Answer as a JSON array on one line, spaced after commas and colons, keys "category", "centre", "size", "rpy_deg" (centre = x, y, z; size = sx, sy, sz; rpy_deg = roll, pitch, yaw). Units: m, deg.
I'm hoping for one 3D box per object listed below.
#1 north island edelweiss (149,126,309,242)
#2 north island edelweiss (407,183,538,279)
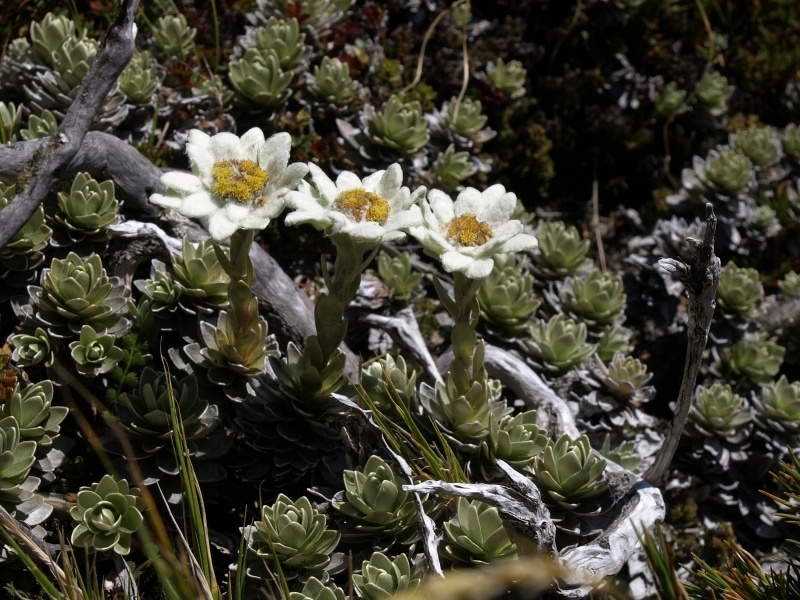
[{"category": "north island edelweiss", "centre": [-0.589, -0.427, 3.592], "size": [0.468, 0.172, 0.572], "rpy_deg": [-8, 51, -7]}, {"category": "north island edelweiss", "centre": [0.272, -0.271, 3.654], "size": [0.378, 0.190, 0.375], "rpy_deg": [35, 37, 25]}]
